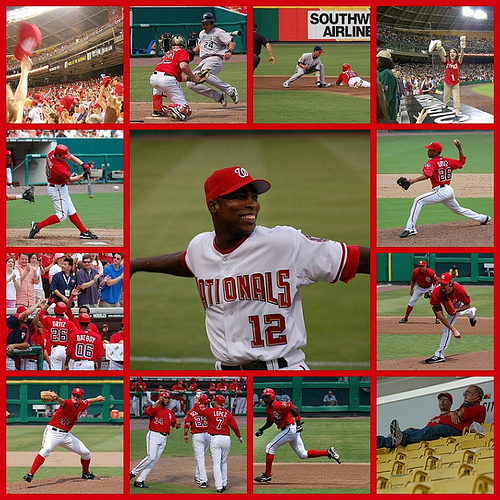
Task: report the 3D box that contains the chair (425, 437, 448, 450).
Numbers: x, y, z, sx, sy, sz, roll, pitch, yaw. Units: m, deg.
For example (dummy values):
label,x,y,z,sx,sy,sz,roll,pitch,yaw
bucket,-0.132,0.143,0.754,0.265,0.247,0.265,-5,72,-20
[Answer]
label,x,y,z,sx,sy,sz,roll,pitch,yaw
chair,2.568,2.653,11.340,0.189,0.169,0.148,-5,-8,25

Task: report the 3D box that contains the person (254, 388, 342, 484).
label,x,y,z,sx,sy,sz,roll,pitch,yaw
person,0.623,2.513,11.226,1.329,1.213,0.523,3,-18,-14

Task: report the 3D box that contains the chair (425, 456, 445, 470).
label,x,y,z,sx,sy,sz,roll,pitch,yaw
chair,2.495,2.901,11.243,0.200,0.184,0.164,-5,-16,25

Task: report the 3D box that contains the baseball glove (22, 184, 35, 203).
label,x,y,z,sx,sy,sz,roll,pitch,yaw
baseball glove,-3.289,-0.808,12.433,0.111,0.138,0.331,-1,-14,-3

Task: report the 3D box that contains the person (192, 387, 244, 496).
label,x,y,z,sx,sy,sz,roll,pitch,yaw
person,-0.441,2.583,11.115,0.409,1.235,0.602,-4,1,-43

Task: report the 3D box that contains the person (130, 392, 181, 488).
label,x,y,z,sx,sy,sz,roll,pitch,yaw
person,-1.303,2.598,11.363,0.696,1.171,0.354,-3,1,-10

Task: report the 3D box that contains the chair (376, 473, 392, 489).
label,x,y,z,sx,sy,sz,roll,pitch,yaw
chair,1.784,3.146,11.209,0.183,0.237,0.194,2,-4,-1

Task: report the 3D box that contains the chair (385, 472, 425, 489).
label,x,y,z,sx,sy,sz,roll,pitch,yaw
chair,2.067,3.115,11.183,0.360,0.329,0.277,-21,-19,8

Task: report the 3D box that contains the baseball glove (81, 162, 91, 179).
label,x,y,z,sx,sy,sz,roll,pitch,yaw
baseball glove,-2.395,-1.181,12.154,0.164,0.260,0.117,-15,-18,25

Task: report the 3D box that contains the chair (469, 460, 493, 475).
label,x,y,z,sx,sy,sz,roll,pitch,yaw
chair,3.150,3.009,11.348,0.229,0.294,0.216,-13,-29,32

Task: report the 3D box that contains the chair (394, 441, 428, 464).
label,x,y,z,sx,sy,sz,roll,pitch,yaw
chair,2.222,2.836,11.496,0.294,0.486,0.360,-14,-24,26

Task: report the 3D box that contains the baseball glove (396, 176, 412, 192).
label,x,y,z,sx,sy,sz,roll,pitch,yaw
baseball glove,2.294,-0.982,12.325,0.165,0.204,0.154,-6,4,2
